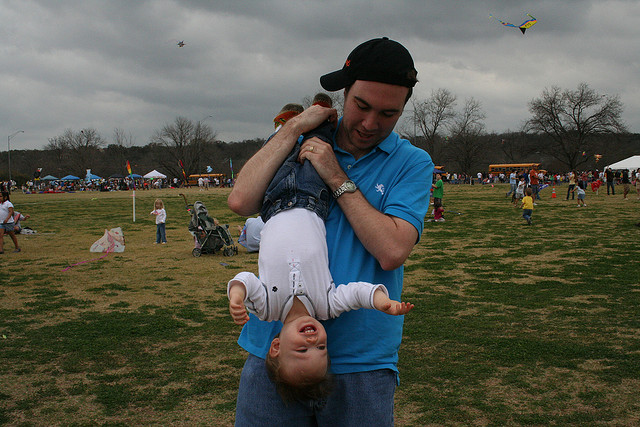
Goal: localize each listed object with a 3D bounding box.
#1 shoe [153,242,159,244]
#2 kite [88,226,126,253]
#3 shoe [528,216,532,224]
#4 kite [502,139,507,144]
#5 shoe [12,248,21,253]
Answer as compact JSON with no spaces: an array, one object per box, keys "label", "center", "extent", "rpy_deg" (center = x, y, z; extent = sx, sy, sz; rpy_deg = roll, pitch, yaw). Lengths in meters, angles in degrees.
[{"label":"shoe","center":[-6.117,1.109,17.011],"extent":[0.161,0.010,0.251],"rpy_deg":[-6,12,-25]},{"label":"kite","center":[-7.033,1.006,15.196],"extent":[0.960,0.870,0.439],"rpy_deg":[-31,8,-19]},{"label":"shoe","center":[9.391,0.301,20.365],"extent":[0.120,0.275,0.281],"rpy_deg":[7,-10,27]},{"label":"kite","center":[37.473,-14.491,92.425],"extent":[0.713,0.863,0.472],"rpy_deg":[3,11,21]},{"label":"shoe","center":[-10.258,1.257,15.458],"extent":[0.239,0.085,0.405],"rpy_deg":[-8,13,-35]}]
